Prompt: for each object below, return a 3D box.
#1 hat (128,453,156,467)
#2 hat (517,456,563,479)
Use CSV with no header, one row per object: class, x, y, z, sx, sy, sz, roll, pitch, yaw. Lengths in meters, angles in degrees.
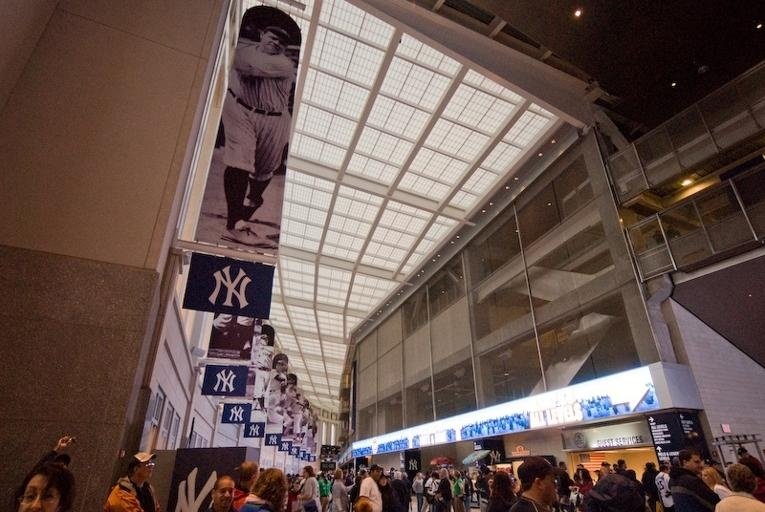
hat,-3.277,2.742,6.278,0.295,0.173,0.210,-17,-12,-9
hat,1.860,2.575,5.575,0.495,0.258,0.273,-1,-28,-2
